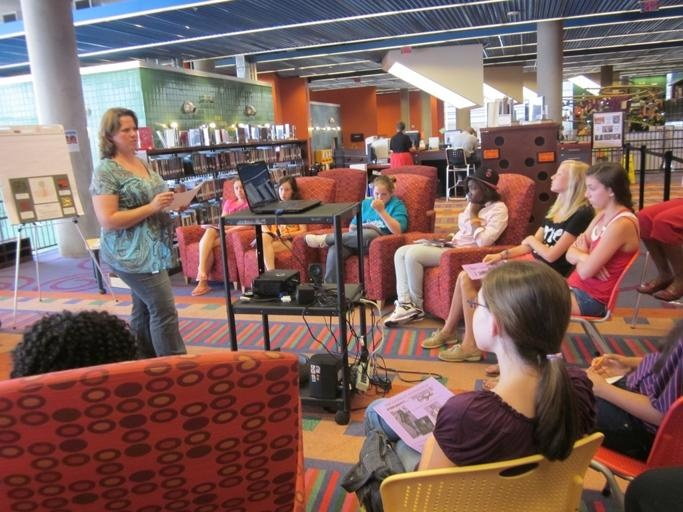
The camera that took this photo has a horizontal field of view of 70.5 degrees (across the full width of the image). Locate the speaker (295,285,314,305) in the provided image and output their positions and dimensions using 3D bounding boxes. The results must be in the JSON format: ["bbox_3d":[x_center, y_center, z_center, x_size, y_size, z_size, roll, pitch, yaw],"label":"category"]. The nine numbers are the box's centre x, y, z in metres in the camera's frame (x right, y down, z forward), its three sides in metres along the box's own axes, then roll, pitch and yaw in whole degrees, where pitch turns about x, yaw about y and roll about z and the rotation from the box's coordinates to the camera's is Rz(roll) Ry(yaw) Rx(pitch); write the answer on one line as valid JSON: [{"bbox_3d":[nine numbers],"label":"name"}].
[{"bbox_3d":[-0.200,0.218,2.654,0.102,0.091,0.075,1,3,35],"label":"speaker"}]

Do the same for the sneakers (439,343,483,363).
[{"bbox_3d":[0.790,0.668,3.297,0.315,0.117,0.112,2,2,6],"label":"sneakers"}]

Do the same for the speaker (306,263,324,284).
[{"bbox_3d":[-0.147,0.110,2.784,0.101,0.161,0.110,-1,-2,0],"label":"speaker"}]

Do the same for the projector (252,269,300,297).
[{"bbox_3d":[-0.365,0.162,2.796,0.252,0.125,0.213,0,11,17],"label":"projector"}]

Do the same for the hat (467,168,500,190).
[{"bbox_3d":[1.134,-0.618,3.797,0.223,0.080,0.182,28,-8,-20],"label":"hat"}]

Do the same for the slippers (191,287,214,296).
[{"bbox_3d":[-1.434,0.366,4.959,0.089,0.120,0.194,4,3,32],"label":"slippers"}]

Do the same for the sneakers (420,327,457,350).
[{"bbox_3d":[0.691,0.604,3.517,0.306,0.119,0.104,-5,10,-4],"label":"sneakers"}]

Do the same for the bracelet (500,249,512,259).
[{"bbox_3d":[1.162,-0.008,3.437,0.077,0.069,0.026,12,-10,20],"label":"bracelet"}]

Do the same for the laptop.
[{"bbox_3d":[-0.386,-0.353,2.794,0.431,0.273,0.416,-1,12,14],"label":"laptop"}]

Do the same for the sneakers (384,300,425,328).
[{"bbox_3d":[0.500,0.481,3.960,0.408,0.176,0.129,-10,-17,-11],"label":"sneakers"}]

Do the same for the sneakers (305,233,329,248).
[{"bbox_3d":[-0.233,-0.142,4.424,0.254,0.082,0.102,0,15,21],"label":"sneakers"}]
